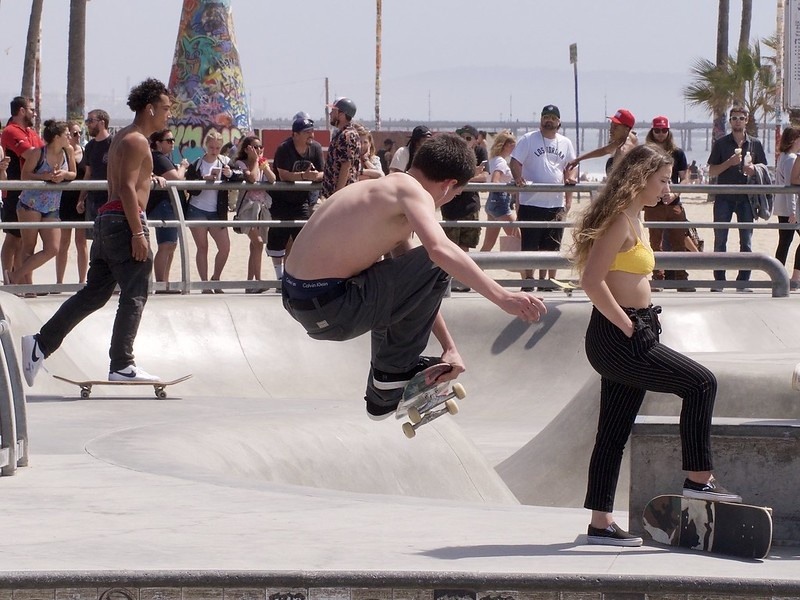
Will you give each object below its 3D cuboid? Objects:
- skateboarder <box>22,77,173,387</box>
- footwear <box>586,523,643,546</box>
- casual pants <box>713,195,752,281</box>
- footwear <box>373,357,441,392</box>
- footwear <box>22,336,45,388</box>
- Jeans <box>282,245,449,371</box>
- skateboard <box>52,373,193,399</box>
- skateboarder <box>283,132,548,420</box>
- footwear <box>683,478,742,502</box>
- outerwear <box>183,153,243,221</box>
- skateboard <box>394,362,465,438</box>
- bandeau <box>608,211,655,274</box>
[{"bbox_3d":[-2.237,-0.524,10.124,0.920,2.283,0.421,1,4,-10],"label":"skateboarder"},{"bbox_3d":[1.252,1.399,7.932,0.320,0.126,0.135,0,1,3],"label":"footwear"},{"bbox_3d":[3.464,-0.687,14.122,0.398,0.324,1.418,12,40,3],"label":"casual pants"},{"bbox_3d":[0.032,0.477,8.537,0.252,0.086,0.101,-24,-36,2],"label":"footwear"},{"bbox_3d":[-2.738,0.457,10.026,0.157,0.403,0.303,1,4,-16],"label":"footwear"},{"bbox_3d":[-0.174,-0.036,8.967,0.977,0.932,1.250,-2,9,-3],"label":"Jeans"},{"bbox_3d":[-2.262,0.691,10.706,0.908,0.162,0.215,2,4,-7],"label":"skateboard"},{"bbox_3d":[0.034,-0.148,8.767,1.615,1.920,1.100,7,8,-11],"label":"skateboarder"},{"bbox_3d":[1.803,1.128,7.873,0.349,0.141,0.130,3,0,11],"label":"footwear"},{"bbox_3d":[-1.877,-1.106,13.488,0.639,0.721,0.524,4,-2,11],"label":"outerwear"},{"bbox_3d":[0.161,0.627,8.479,0.441,0.172,0.568,-29,-32,-9],"label":"skateboard"},{"bbox_3d":[1.363,-0.337,8.196,0.292,0.415,0.309,2,6,-3],"label":"bandeau"}]
